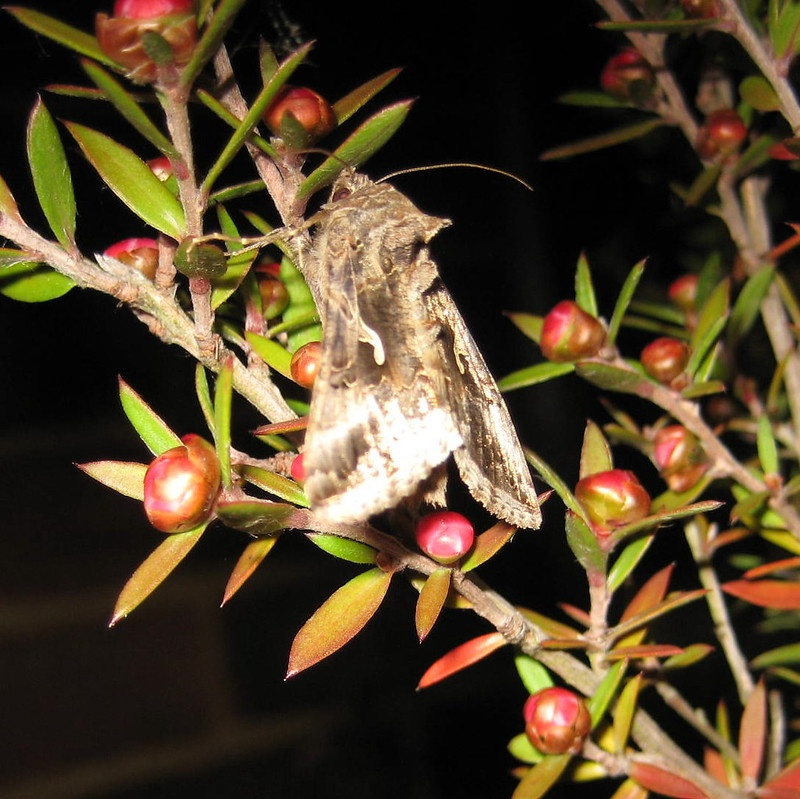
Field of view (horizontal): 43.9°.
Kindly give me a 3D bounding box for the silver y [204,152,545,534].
[{"bbox_3d":[-0.015,-0.041,1.362,0.555,0.487,0.184,-6,-15,-46],"label":"silver y"}]
